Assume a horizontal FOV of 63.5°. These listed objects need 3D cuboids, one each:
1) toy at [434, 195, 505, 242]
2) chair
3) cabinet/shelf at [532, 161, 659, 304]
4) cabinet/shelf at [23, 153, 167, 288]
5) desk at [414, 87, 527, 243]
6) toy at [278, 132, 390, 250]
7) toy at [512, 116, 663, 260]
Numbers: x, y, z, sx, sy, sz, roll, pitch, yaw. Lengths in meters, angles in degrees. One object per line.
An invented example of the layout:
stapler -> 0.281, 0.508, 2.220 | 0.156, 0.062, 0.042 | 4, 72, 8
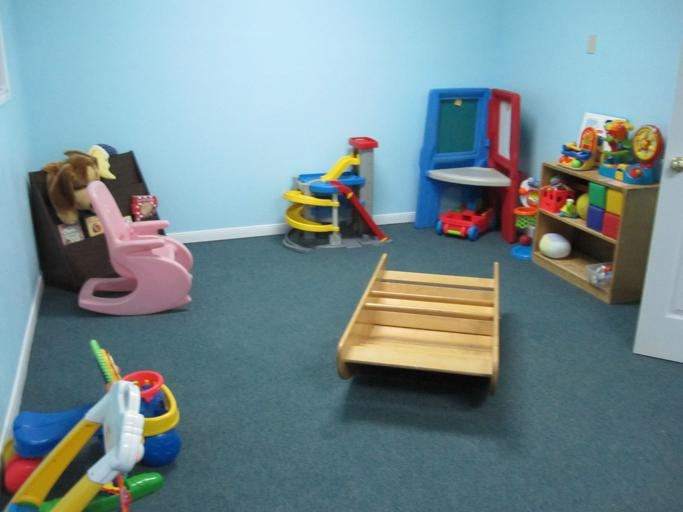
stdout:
toy -> 1.137, -0.370, 4.922 | 0.333, 0.236, 0.529 | 16, 29, 40
chair -> -1.314, -0.055, 3.641 | 0.761, 0.764, 0.659 | 6, 17, 0
cabinet/shelf -> 1.714, -0.151, 3.709 | 0.296, 0.732, 0.822 | -4, 21, -8
cabinet/shelf -> -1.865, -0.293, 4.124 | 0.853, 0.786, 0.438 | -17, -15, -20
desk -> 1.145, -0.832, 4.887 | 0.972, 1.511, 1.003 | -9, 19, -29
toy -> -0.081, -0.610, 4.911 | 1.083, 1.033, 0.820 | -3, 19, -11
toy -> 1.742, -0.453, 3.875 | 0.335, 1.011, 0.905 | -3, 21, -11
